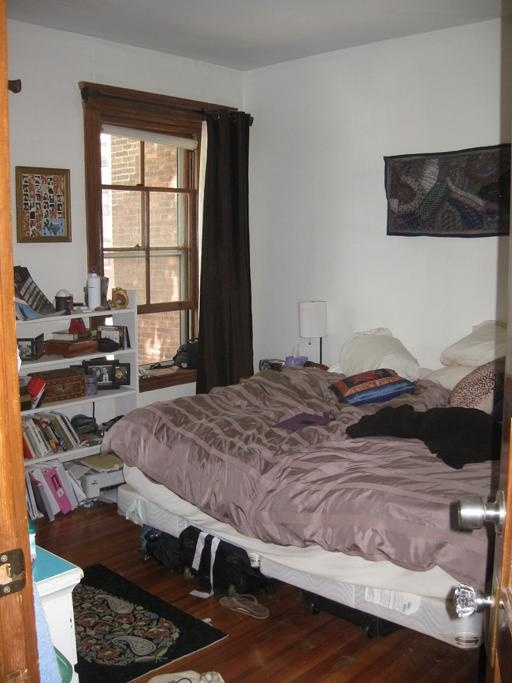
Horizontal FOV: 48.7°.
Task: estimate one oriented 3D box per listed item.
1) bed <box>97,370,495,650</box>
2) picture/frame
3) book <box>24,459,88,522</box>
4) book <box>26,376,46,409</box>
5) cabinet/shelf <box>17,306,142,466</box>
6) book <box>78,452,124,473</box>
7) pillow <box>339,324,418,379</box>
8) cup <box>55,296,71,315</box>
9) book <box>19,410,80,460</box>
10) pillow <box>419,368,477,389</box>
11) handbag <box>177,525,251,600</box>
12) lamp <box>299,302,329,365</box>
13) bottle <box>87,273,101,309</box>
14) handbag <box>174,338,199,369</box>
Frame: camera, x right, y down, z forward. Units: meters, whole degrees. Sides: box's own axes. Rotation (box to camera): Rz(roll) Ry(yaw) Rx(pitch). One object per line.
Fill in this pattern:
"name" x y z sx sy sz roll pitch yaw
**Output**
"bed" 0.183 0.596 2.321 1.196 0.330 1.216 6 11 35
"picture/frame" -1.364 -0.876 3.580 0.040 0.562 0.476 7 10 34
"book" -1.258 0.889 3.426 0.268 0.122 0.354 -2 3 -30
"book" -1.302 0.299 3.351 0.118 0.171 0.078 -5 8 -32
"cabinet/shelf" -1.094 0.268 3.443 0.282 0.886 0.942 3 8 26
"book" -1.000 0.785 3.687 0.283 0.068 0.285 4 6 23
"pillow" 0.747 0.063 3.606 0.284 0.130 0.388 -11 11 -4
"cup" -1.182 -0.223 3.476 0.103 0.115 0.125 -3 7 -19
"book" -1.248 0.556 3.519 0.342 0.150 0.466 12 14 36
"pillow" 1.100 0.194 3.273 0.148 0.042 0.154 -30 15 -15
"handbag" -0.192 1.000 2.596 0.279 0.284 0.085 15 19 33
"lamp" 0.422 -0.055 4.161 0.200 0.485 0.385 0 6 8
"bottle" -1.057 -0.324 3.686 0.069 0.227 0.087 3 8 33
"handbag" -0.560 0.102 4.604 0.244 0.258 0.189 3 4 10
